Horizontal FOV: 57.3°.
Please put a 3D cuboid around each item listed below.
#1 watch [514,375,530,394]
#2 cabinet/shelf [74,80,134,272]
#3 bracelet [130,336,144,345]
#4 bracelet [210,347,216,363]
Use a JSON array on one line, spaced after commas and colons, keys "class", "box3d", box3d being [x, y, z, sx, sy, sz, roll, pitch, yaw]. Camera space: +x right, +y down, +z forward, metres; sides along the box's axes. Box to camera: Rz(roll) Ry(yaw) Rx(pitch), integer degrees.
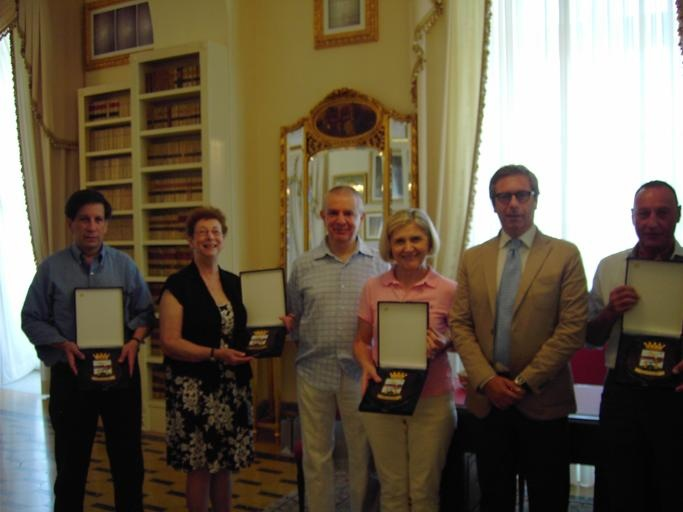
[{"class": "watch", "box3d": [0.921, 0.665, 3.194, 0.047, 0.066, 0.069, -21, 53, -28]}, {"class": "cabinet/shelf", "box3d": [-2.341, -0.800, 6.247, 0.242, 1.848, 0.632, 16, 19, 36]}, {"class": "bracelet", "box3d": [-1.223, 0.514, 3.777, 0.055, 0.058, 0.060, 5, 0, -17]}, {"class": "bracelet", "box3d": [-0.756, 0.602, 3.711, 0.041, 0.071, 0.071, -1, 6, -6]}]
